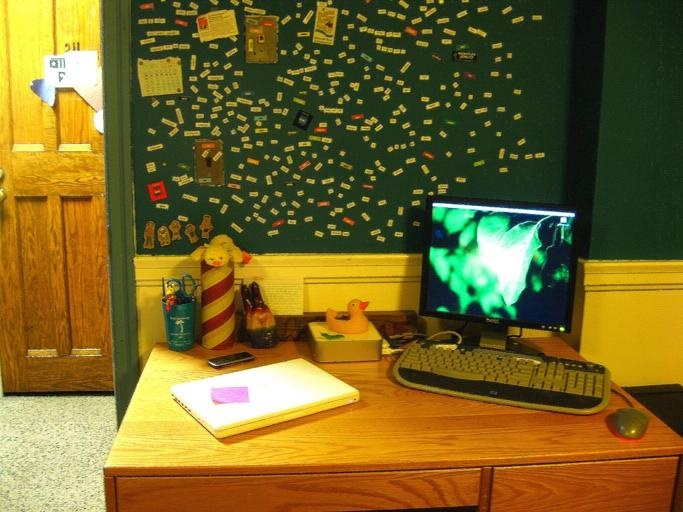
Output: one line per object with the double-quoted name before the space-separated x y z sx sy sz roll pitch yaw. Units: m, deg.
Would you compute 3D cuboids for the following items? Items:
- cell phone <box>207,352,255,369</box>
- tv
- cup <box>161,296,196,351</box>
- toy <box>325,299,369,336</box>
"cell phone" -0.344 0.322 1.691 0.099 0.011 0.053 -5 8 -24
"tv" 0.524 0.058 1.786 0.163 0.470 0.552 -5 8 -41
"cup" -0.537 0.233 1.797 0.127 0.143 0.115 1 -1 -38
"toy" 0.021 0.196 1.790 0.156 0.094 0.105 0 7 26
